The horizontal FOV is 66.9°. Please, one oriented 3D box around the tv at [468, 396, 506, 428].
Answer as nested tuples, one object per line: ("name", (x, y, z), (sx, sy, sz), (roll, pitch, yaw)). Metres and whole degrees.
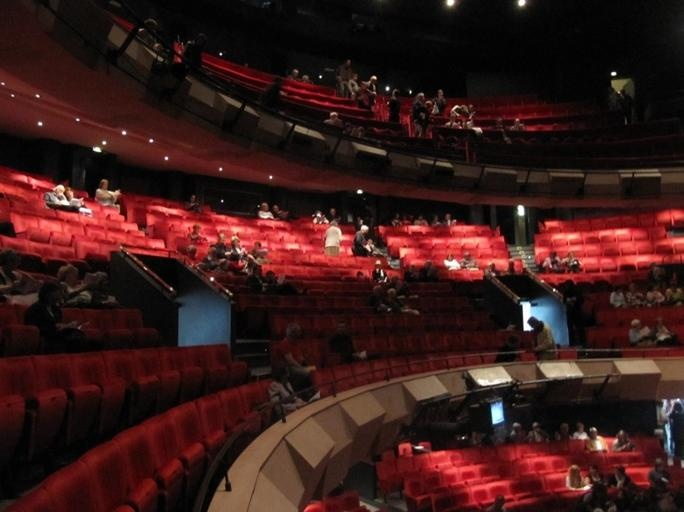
("tv", (2.120, 2.314, 7.563), (0.475, 0.411, 0.492), (-8, -8, 21))
